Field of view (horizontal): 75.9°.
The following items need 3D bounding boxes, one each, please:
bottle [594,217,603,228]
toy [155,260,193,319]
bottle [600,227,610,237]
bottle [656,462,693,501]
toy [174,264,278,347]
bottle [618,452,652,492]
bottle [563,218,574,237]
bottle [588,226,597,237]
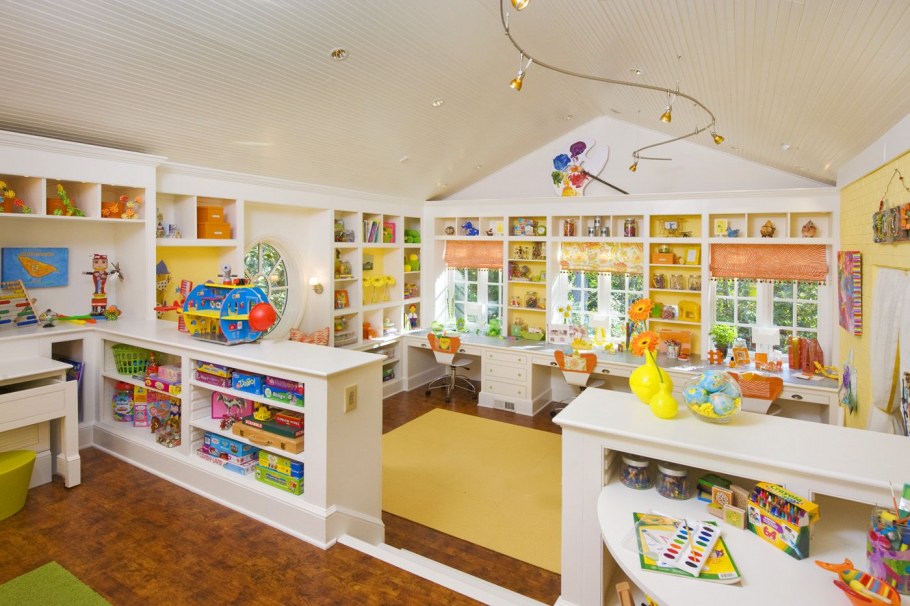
[{"bbox_3d":[1.790,-1.002,7.265,0.114,0.127,0.115,3,8,19],"label":"bottle"},{"bbox_3d":[-2.811,-0.148,5.879,0.377,0.437,0.350,5,-1,-30],"label":"toy"},{"bbox_3d":[1.856,-0.868,7.180,0.117,0.149,0.105,-1,-6,7],"label":"bottle"},{"bbox_3d":[1.320,1.071,3.525,0.194,0.141,0.192,-1,-3,0],"label":"bottle"},{"bbox_3d":[-1.879,0.076,4.906,0.896,0.453,0.528,6,8,33],"label":"toy"},{"bbox_3d":[1.103,1.038,3.589,0.186,0.165,0.185,-1,-2,5],"label":"bottle"},{"bbox_3d":[1.457,-0.944,7.471,0.175,0.263,0.182,1,4,0],"label":"bottle"},{"bbox_3d":[1.713,-0.895,7.293,0.108,0.195,0.107,0,3,0],"label":"bottle"}]
